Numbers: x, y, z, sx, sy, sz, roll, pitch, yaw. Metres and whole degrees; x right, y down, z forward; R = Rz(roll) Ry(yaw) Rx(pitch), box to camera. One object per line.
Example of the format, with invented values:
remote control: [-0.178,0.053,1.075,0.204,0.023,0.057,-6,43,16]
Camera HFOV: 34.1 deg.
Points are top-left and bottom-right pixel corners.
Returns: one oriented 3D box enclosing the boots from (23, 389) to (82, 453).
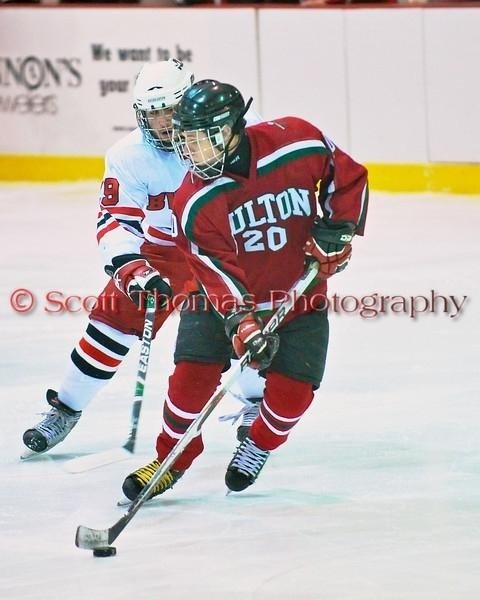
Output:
boots: [-0.615,0.393,2.568,0.096,0.101,0.259,25,29,13]

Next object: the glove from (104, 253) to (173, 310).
glove: [-0.304,-0.056,2.458,0.204,0.126,0.084,44,6,22]

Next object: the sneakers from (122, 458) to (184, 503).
sneakers: [-0.236,0.493,2.195,0.252,0.083,0.088,-2,12,-44]

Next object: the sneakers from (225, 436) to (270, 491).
sneakers: [0.036,0.459,2.257,0.068,0.077,0.185,42,40,-9]

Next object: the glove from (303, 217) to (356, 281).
glove: [0.259,-0.143,2.107,0.186,0.140,0.069,1,12,-35]

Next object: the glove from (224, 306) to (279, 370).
glove: [0.059,0.086,2.030,0.154,0.099,0.185,39,31,-39]

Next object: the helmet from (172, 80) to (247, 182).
helmet: [-0.073,-0.435,2.022,0.229,0.191,0.173,-14,20,-14]

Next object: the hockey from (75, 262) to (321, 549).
hockey: [-0.111,0.310,2.226,0.118,1.070,0.149,58,-14,-25]
